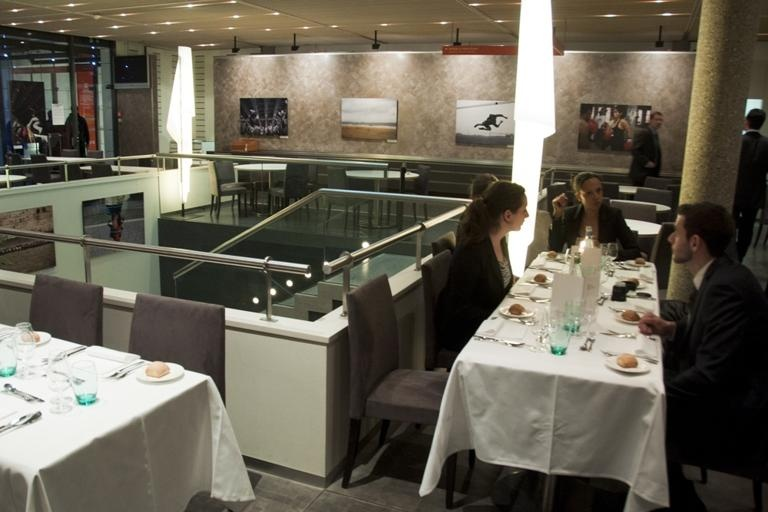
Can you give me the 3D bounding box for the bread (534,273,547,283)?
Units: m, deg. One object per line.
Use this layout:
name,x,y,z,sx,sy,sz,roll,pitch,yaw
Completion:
bread,1.171,0.154,4.123,0.063,0.045,0.077,-2,7,3

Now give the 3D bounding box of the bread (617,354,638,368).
bread,1.266,0.540,2.872,0.103,0.054,0.098,4,13,19

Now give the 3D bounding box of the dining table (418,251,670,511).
dining table,0.972,0.403,2.877,0.803,0.432,1.783,4,16,20

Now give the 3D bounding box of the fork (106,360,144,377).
fork,-1.375,0.601,2.965,0.048,0.029,0.199,12,16,16

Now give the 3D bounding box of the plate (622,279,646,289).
plate,1.793,0.190,3.988,0.098,0.058,0.096,-2,7,-6

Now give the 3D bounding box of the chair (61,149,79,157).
chair,-6.726,-2.236,11.840,0.573,0.141,0.193,5,13,23

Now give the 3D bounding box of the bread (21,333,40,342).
bread,-1.905,0.434,2.984,0.083,0.045,0.082,1,2,2

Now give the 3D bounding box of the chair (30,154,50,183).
chair,-5.686,-1.467,9.188,0.259,0.399,1.009,-7,14,-30

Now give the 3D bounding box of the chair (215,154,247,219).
chair,-2.453,-1.121,9.021,0.470,0.737,0.465,4,20,-6

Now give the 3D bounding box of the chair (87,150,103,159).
chair,-6.205,-2.215,11.894,0.290,0.131,1.072,-6,13,-27

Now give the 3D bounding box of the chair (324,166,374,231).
chair,-0.473,-0.794,7.368,0.576,0.700,1.964,-1,12,-4

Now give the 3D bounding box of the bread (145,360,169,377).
bread,-1.199,0.575,2.917,0.083,0.048,0.084,14,15,43

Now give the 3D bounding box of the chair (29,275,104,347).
chair,-2.034,0.361,3.551,0.337,0.583,0.335,13,11,15

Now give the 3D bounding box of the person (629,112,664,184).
person,4.074,-1.663,8.566,0.430,1.126,0.421,5,14,22

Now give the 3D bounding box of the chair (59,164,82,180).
chair,-5.110,-1.397,9.024,0.157,0.220,0.303,1,6,32

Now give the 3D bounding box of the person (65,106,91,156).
person,-6.657,-2.664,12.031,0.409,0.933,1.043,-7,14,-29

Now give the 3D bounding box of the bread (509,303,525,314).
bread,0.846,0.324,3.512,0.069,0.040,0.070,-2,3,31

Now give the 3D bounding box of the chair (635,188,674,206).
chair,3.752,-0.833,7.651,0.293,0.380,0.322,4,2,44

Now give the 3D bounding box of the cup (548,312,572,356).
cup,0.956,0.430,3.050,0.145,0.222,0.150,3,3,0
